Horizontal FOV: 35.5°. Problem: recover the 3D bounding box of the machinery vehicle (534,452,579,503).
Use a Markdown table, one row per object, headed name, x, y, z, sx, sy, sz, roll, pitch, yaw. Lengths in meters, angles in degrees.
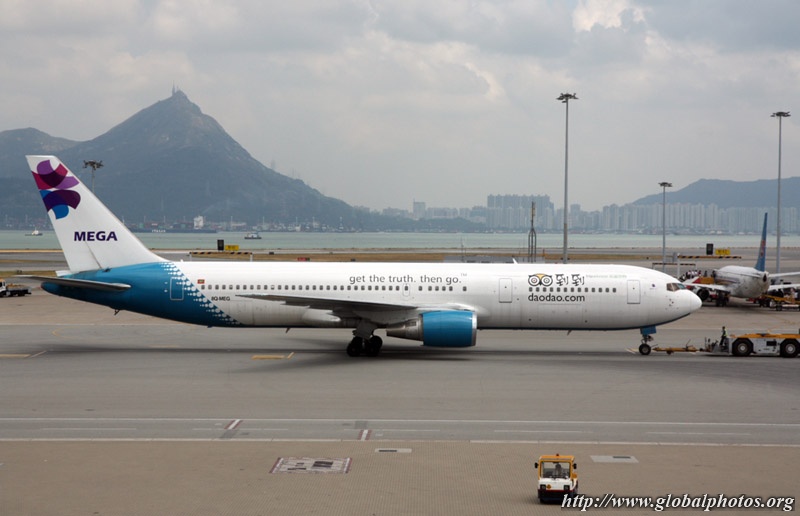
| name | x | y | z | sx | sy | sz | roll | pitch | yaw |
| --- | --- | --- | --- | --- | --- | --- | --- | --- | --- |
| machinery vehicle | 7.947 | 10.897 | 63.881 | 2.214 | 1.909 | 3.443 | 1 | 7 | 8 |
